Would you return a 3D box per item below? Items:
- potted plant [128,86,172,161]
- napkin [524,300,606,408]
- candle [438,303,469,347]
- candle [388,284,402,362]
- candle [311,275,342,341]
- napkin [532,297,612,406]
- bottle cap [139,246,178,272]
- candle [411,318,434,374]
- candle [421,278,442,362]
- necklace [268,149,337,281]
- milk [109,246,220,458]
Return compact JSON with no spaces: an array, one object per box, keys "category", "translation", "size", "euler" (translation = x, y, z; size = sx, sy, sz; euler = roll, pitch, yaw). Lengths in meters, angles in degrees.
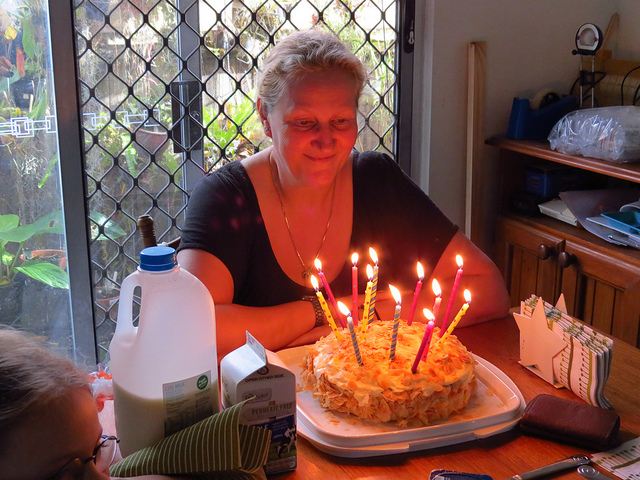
[{"category":"potted plant","translation":[-0.688,-0.504,2.088],"size":[0.150,0.261,0.174],"euler":[8,23,21]},{"category":"napkin","translation":[0.540,0.246,1.120],"size":[0.042,0.171,0.222],"euler":[-4,11,-19]},{"category":"candle","translation":[0.328,0.213,1.239],"size":[0.017,0.168,0.020],"euler":[7,41,-21]},{"category":"candle","translation":[0.160,0.174,1.058],"size":[0.023,0.170,0.025],"euler":[6,-3,-21]},{"category":"candle","translation":[0.011,0.159,1.105],"size":[0.052,0.150,0.067],"euler":[-2,18,-10]},{"category":"napkin","translation":[0.535,0.233,1.067],"size":[0.121,0.142,0.122],"euler":[-11,21,-35]},{"category":"bottle cap","translation":[-0.263,0.028,0.805],"size":[0.057,0.031,0.075],"euler":[-7,13,-27]},{"category":"candle","translation":[0.204,0.206,1.004],"size":[0.043,0.109,0.052],"euler":[1,10,14]},{"category":"candle","translation":[0.240,0.193,1.067],"size":[0.048,0.214,0.054],"euler":[0,15,6]},{"category":"necklace","translation":[-0.056,-0.088,1.619],"size":[0.221,0.402,0.186],"euler":[-2,10,-2]},{"category":"milk","translation":[-0.254,0.184,0.813],"size":[0.169,0.340,0.093],"euler":[-5,10,-23]}]
